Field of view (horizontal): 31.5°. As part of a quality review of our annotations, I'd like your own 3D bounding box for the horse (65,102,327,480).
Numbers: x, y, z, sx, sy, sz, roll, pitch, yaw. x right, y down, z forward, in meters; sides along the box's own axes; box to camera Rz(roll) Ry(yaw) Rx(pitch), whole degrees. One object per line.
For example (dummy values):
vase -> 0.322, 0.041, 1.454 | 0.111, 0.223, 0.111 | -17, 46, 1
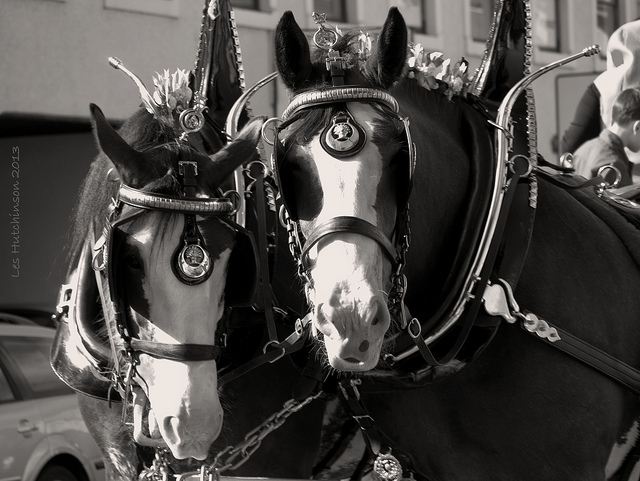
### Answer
horse -> -0.452, 0.222, 3.970 | 0.855, 1.382, 0.933 | 0, 6, -9
